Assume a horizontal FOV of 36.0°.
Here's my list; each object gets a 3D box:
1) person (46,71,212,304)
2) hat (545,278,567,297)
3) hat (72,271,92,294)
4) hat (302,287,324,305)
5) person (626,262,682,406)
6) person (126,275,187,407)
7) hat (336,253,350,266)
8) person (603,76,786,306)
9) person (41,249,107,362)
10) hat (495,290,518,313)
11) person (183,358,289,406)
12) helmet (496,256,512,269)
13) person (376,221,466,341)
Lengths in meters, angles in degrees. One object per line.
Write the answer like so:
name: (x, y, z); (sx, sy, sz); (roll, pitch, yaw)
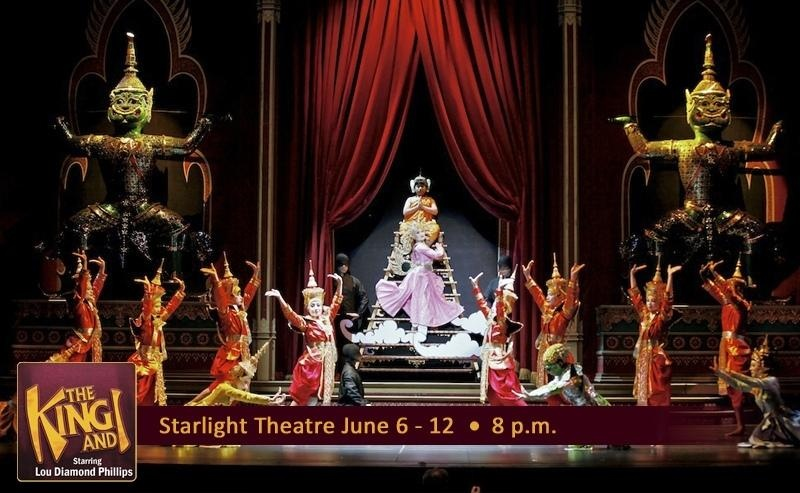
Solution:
person: (-2.515, -0.830, 11.673); (1.433, 2.161, 0.365); (1, -4, -12)
hat: (1.403, 0.360, 10.964); (0.175, 0.150, 0.167); (-2, -5, 20)
hat: (-2.846, 0.339, 11.167); (0.225, 0.180, 0.207); (-1, 3, -2)
hat: (-0.774, 0.446, 10.974); (0.196, 0.108, 0.169); (0, -2, -7)
person: (2.260, 0.789, 10.919); (0.311, 1.220, 0.491); (2, -5, -27)
person: (-2.184, 0.798, 10.871); (0.318, 1.182, 0.480); (-2, -5, 31)
hat: (-0.543, 0.134, 11.696); (0.135, 0.093, 0.117); (2, -6, -14)
person: (2.864, -0.738, 11.654); (1.486, 2.060, 0.412); (0, -4, 11)
person: (-2.921, 0.559, 11.179); (0.435, 0.960, 0.342); (1, -4, -13)
hat: (0.949, 0.494, 10.808); (0.237, 0.169, 0.192); (5, 2, 0)
person: (-1.389, 1.198, 10.371); (0.913, 0.384, 0.464); (8, 18, 15)
helmet: (0.994, 0.156, 11.509); (0.129, 0.121, 0.119); (0, -4, -2)
person: (0.185, 0.349, 11.637); (0.802, 1.000, 0.201); (1, -4, -3)
